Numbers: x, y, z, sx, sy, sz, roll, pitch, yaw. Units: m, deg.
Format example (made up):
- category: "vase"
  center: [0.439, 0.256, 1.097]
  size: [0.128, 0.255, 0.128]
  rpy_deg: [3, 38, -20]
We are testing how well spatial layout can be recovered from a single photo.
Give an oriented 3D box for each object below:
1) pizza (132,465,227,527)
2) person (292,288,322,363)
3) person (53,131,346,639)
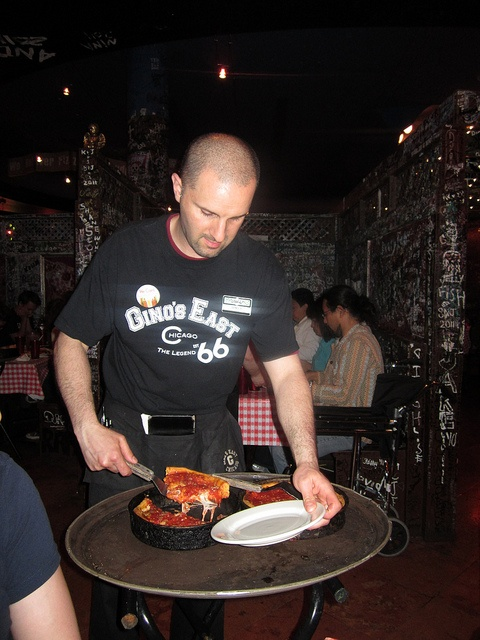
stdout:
- category: "pizza"
  center: [-0.166, 0.487, 1.555]
  size: [0.227, 0.087, 0.165]
  rpy_deg: [9, 24, 17]
- category: "person"
  center: [0.638, 0.065, 4.962]
  size: [0.310, 0.955, 0.391]
  rpy_deg: [2, -25, 0]
- category: "person"
  center: [-0.210, 0.006, 1.761]
  size: [0.930, 1.231, 0.726]
  rpy_deg: [-2, 5, 6]
